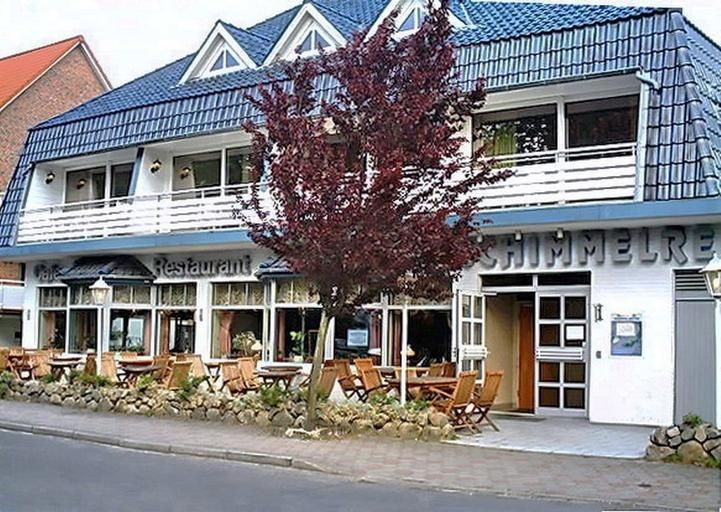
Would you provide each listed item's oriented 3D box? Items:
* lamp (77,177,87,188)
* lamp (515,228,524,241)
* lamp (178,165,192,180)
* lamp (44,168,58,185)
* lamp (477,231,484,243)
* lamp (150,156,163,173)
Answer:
[{"bbox_3d":[-11.285,-2.896,27.631,0.377,0.469,0.357,-3,14,41],"label":"lamp"},{"bbox_3d":[4.250,-0.540,18.475,0.227,0.246,0.432,3,0,-4],"label":"lamp"},{"bbox_3d":[-6.468,-3.007,25.154,0.405,0.628,0.459,1,0,16],"label":"lamp"},{"bbox_3d":[-12.538,-3.145,27.725,0.311,0.595,0.486,0,-2,36],"label":"lamp"},{"bbox_3d":[3.314,-0.472,18.791,0.206,0.344,0.196,5,1,-42],"label":"lamp"},{"bbox_3d":[-7.467,-3.266,25.129,0.475,0.578,0.297,2,-2,-43],"label":"lamp"}]
